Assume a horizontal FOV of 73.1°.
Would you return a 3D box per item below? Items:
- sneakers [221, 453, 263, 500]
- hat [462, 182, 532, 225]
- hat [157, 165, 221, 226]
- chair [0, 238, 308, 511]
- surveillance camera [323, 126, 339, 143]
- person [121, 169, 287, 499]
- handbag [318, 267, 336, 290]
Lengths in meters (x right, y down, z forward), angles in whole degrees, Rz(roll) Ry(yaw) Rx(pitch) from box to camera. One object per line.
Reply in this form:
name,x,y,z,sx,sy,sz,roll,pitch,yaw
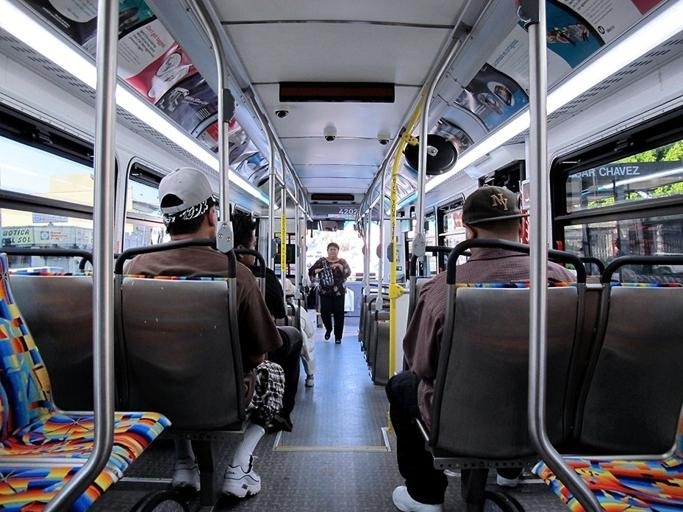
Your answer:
sneakers,-0.605,1.391,2.938,0.107,0.240,0.333,-6,-23,23
hat,0.899,-0.283,2.731,0.351,0.287,0.496,-1,0,-9
hat,-1.031,-0.343,2.812,0.273,0.237,0.396,-17,-2,-12
chair,-1.112,0.588,2.760,1.232,1.237,0.919,-1,0,2
surveillance camera,-0.112,-1.290,4.858,0.109,0.132,0.109,-6,9,-36
person,-0.875,0.550,3.089,1.115,2.166,1.038,6,10,42
handbag,-0.224,0.371,7.191,0.308,0.485,0.289,0,-14,-4
